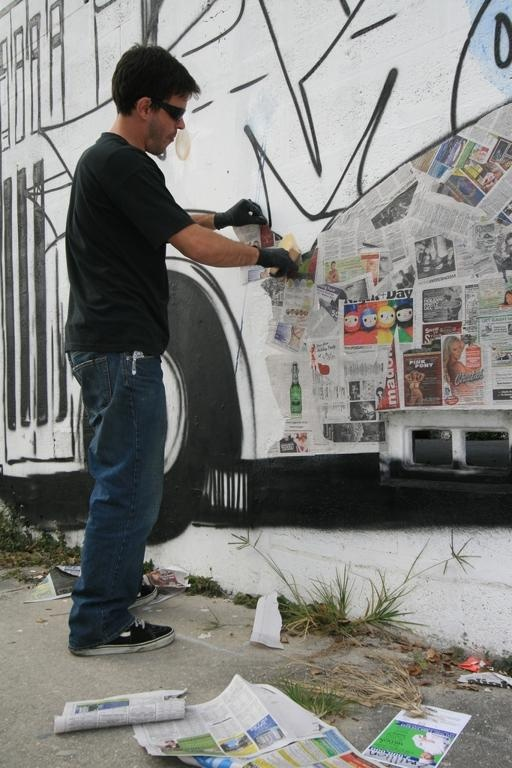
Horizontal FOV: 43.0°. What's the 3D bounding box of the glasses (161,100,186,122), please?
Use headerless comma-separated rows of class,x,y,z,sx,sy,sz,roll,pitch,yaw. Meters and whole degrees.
glasses,-0.277,-0.897,2.128,0.054,0.017,0.051,34,11,-5

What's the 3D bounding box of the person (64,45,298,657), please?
person,-0.368,-0.114,2.197,0.602,1.955,0.527,-3,-5,31

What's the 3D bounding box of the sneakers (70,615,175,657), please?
sneakers,-0.437,0.785,2.096,0.312,0.128,0.116,-4,-2,-18
